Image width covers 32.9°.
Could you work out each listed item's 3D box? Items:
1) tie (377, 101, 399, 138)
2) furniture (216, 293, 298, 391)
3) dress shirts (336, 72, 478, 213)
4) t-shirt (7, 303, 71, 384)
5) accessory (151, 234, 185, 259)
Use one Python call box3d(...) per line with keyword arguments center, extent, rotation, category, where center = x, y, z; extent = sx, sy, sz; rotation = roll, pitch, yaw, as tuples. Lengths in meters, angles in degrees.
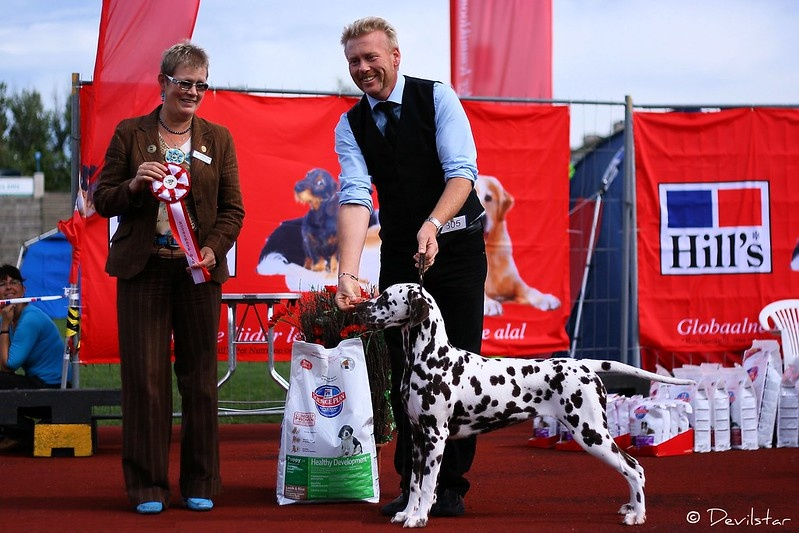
box3d(center=(-0.084, -1.182, 10.905), extent=(0.170, 0.284, 0.084), rotation=(2, 6, 19), category="tie")
box3d(center=(-1.524, 0.711, 13.635), extent=(1.098, 0.908, 1.130), rotation=(1, -2, -29), category="furniture")
box3d(center=(0.020, -1.085, 10.906), extent=(1.101, 1.091, 0.520), rotation=(-8, 32, 4), category="dress shirts")
box3d(center=(-3.512, 0.757, 13.319), extent=(0.666, 0.963, 0.688), rotation=(3, -2, -18), category="t-shirt")
box3d(center=(-1.901, -0.160, 11.033), extent=(0.164, 0.103, 0.209), rotation=(4, 2, -39), category="accessory")
